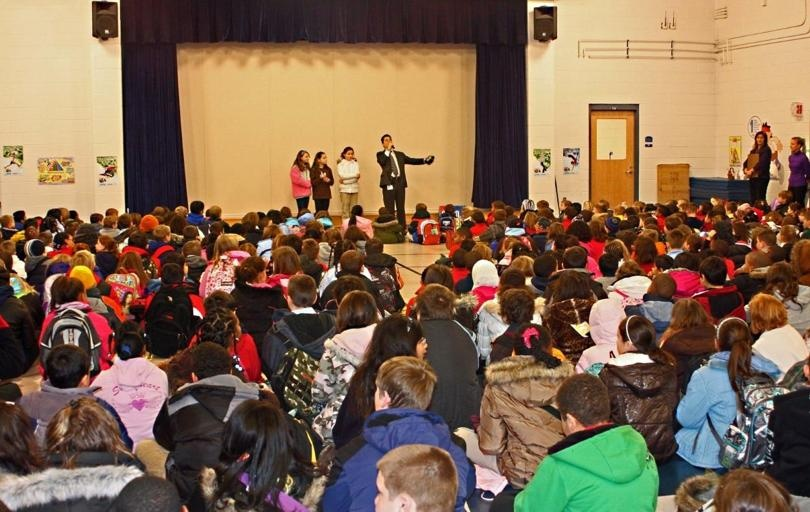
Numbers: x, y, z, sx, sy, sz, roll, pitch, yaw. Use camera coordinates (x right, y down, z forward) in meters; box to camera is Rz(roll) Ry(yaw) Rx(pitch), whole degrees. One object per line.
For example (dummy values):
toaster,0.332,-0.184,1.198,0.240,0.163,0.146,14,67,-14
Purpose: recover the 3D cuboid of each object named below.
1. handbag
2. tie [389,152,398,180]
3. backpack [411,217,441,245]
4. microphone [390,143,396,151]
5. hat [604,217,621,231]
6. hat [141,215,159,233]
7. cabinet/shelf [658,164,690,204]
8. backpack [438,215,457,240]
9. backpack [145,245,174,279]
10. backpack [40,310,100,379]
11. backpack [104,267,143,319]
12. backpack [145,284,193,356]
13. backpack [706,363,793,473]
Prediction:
handbag,-0.836,0.995,5.169,0.457,0.372,0.177,42,12,5
tie,-0.234,-1.975,14.548,0.237,0.618,0.102,-1,6,0
backpack,0.409,-0.465,13.279,0.362,0.532,0.502,0,-3,-13
microphone,-0.288,-2.514,15.450,0.180,0.098,0.304,3,-15,-1
hat,3.176,-0.505,10.370,0.234,0.237,0.181,-9,15,-41
hat,-3.744,-0.466,9.807,0.215,0.171,0.304,-10,29,-11
cabinet/shelf,6.980,-1.909,17.357,0.768,1.422,0.503,3,40,27
backpack,0.794,-0.566,12.814,0.310,0.496,0.449,0,-3,1
backpack,-3.121,0.073,8.525,0.320,0.280,0.445,-1,-18,-30
backpack,-3.039,0.775,6.112,0.560,0.690,0.348,1,7,-26
backpack,-3.297,0.462,7.716,0.387,0.548,0.535,5,-12,-5
backpack,-2.497,0.713,7.245,0.487,0.794,0.399,6,9,3
backpack,2.555,1.238,4.906,0.402,0.634,0.611,1,3,6
